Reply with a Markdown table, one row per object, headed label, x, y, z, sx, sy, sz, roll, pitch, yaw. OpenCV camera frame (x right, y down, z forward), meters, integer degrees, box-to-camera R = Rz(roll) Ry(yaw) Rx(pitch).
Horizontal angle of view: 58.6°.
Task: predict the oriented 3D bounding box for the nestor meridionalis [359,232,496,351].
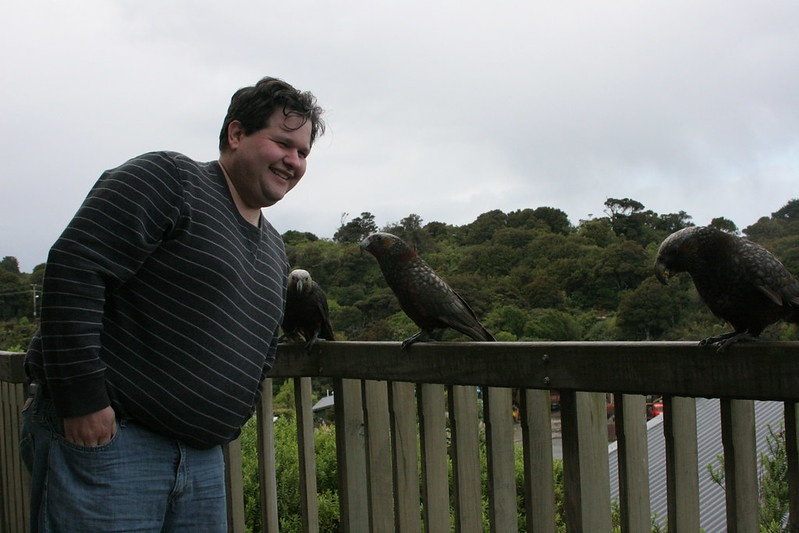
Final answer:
| label | x | y | z | sx | sy | sz | roll | pitch | yaw |
| --- | --- | --- | --- | --- | --- | --- | --- | --- | --- |
| nestor meridionalis | 0.167 | 0.118 | 4.146 | 0.838 | 0.692 | 0.349 | -1 | 5 | -21 |

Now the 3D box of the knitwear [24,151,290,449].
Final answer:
| label | x | y | z | sx | sy | sz | roll | pitch | yaw |
| --- | --- | --- | --- | --- | --- | --- | --- | --- | --- |
| knitwear | -0.920 | 0.146 | 2.758 | 0.562 | 0.879 | 0.931 | 13 | -12 | 37 |

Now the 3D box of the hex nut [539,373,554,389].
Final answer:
| label | x | y | z | sx | sy | sz | roll | pitch | yaw |
| --- | --- | --- | --- | --- | --- | --- | --- | --- | --- |
| hex nut | 0.575 | 0.449 | 2.793 | 0.047 | 0.035 | 0.020 | 4 | 12 | 37 |

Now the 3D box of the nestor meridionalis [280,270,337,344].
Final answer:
| label | x | y | z | sx | sy | sz | roll | pitch | yaw |
| --- | --- | --- | --- | --- | --- | --- | --- | --- | --- |
| nestor meridionalis | -0.657 | 0.298 | 5.210 | 0.361 | 0.583 | 0.544 | 3 | 0 | 15 |

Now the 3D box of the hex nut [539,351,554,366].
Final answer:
| label | x | y | z | sx | sy | sz | roll | pitch | yaw |
| --- | --- | --- | --- | --- | --- | --- | --- | --- | --- |
| hex nut | 0.576 | 0.358 | 2.799 | 0.032 | 0.046 | 0.045 | 0 | -32 | -9 |
